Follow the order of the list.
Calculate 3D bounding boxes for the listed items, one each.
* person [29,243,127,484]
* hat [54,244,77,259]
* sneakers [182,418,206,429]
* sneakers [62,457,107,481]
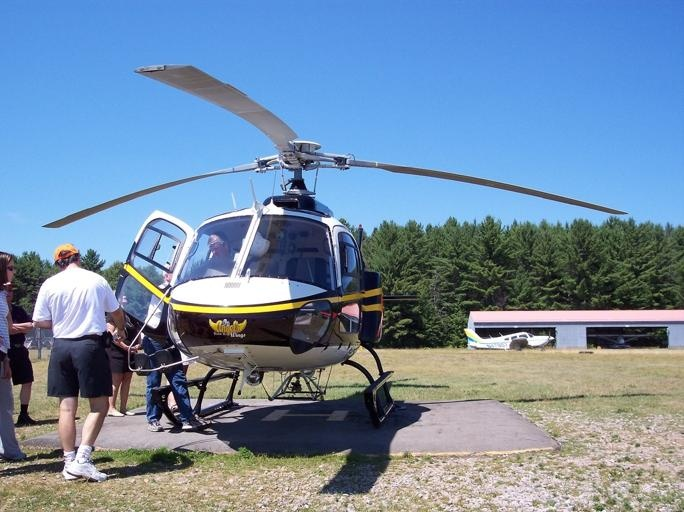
[{"bbox_3d":[-2.686,1.063,5.863,0.856,2.370,0.363,1,-8,-17],"label":"person"},{"bbox_3d":[-2.636,-0.029,5.474,0.167,0.108,0.225,5,13,38],"label":"hat"},{"bbox_3d":[-1.985,2.251,7.696,0.357,0.118,0.124,-8,8,3],"label":"sneakers"},{"bbox_3d":[-2.461,2.152,5.753,0.545,0.196,0.166,10,-2,-10],"label":"sneakers"}]
